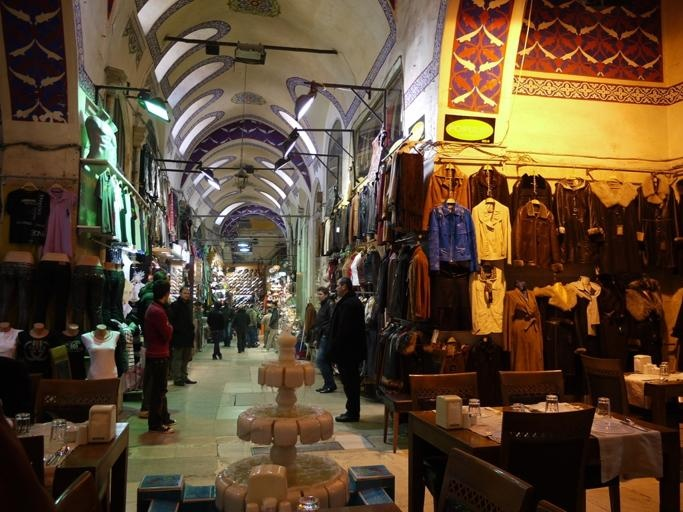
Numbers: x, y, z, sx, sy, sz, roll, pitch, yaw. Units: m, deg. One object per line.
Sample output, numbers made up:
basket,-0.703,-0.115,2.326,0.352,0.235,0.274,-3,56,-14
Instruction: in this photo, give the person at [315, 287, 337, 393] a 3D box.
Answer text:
person,-0.272,1.464,9.309,0.419,1.944,0.727,1,12,6

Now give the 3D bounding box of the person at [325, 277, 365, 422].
person,0.082,1.252,7.058,0.500,1.939,0.410,1,-6,-1

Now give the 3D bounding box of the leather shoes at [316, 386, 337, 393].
leather shoes,-0.267,2.360,9.170,0.363,0.156,0.126,4,-9,-2

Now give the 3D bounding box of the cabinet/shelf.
cabinet/shelf,-3.217,-0.669,7.419,0.366,0.985,1.828,2,-7,-4

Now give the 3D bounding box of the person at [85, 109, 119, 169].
person,-3.246,-1.588,7.025,0.293,0.712,0.721,2,-7,-5

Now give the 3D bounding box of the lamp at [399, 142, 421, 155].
lamp,0.910,-1.388,6.827,0.208,0.106,0.297,-16,24,10

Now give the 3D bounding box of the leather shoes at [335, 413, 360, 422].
leather shoes,0.077,2.171,7.033,0.315,0.129,0.129,3,-11,3

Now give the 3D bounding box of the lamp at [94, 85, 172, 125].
lamp,-3.046,-2.242,7.625,1.125,0.518,0.188,7,-11,2

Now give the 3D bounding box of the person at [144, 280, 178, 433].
person,-2.287,1.227,6.504,0.375,1.890,0.429,1,-6,2

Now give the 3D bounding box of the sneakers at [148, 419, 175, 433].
sneakers,-2.284,2.117,6.491,0.383,0.159,0.125,-1,-6,-3

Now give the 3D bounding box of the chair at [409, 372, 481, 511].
chair,0.821,1.412,4.115,0.656,1.036,0.677,-14,-28,28

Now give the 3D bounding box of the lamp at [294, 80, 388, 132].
lamp,-0.087,-2.631,8.746,1.435,0.629,0.316,-6,35,-26

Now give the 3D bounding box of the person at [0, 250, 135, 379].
person,-2.971,0.773,6.696,1.145,1.584,1.385,-1,-7,21
